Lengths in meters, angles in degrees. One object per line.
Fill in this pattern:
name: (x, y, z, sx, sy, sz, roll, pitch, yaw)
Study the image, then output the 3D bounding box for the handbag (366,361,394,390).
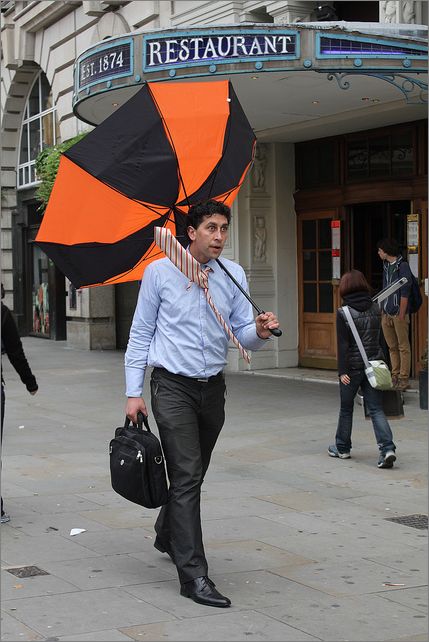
handbag: (1.385, 0.458, 6.387, 0.241, 0.261, 0.160, 0, 1, -4)

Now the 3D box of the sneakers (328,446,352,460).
sneakers: (1.118, 1.182, 6.869, 0.200, 0.086, 0.087, 18, 20, 41)

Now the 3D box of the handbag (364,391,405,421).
handbag: (1.481, 0.738, 6.694, 0.327, 0.272, 0.166, -2, 6, 6)

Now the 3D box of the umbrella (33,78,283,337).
umbrella: (-0.491, -1.044, 5.107, 0.578, 1.598, 1.741, 17, 0, 29)

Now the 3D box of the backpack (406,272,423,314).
backpack: (2.598, -0.364, 9.907, 0.173, 0.511, 0.401, 0, 1, 15)

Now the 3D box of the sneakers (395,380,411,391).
sneakers: (2.502, 0.853, 10.147, 0.151, 0.151, 0.373, -22, -12, 10)

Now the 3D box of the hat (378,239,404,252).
hat: (2.240, -0.975, 9.817, 0.251, 0.231, 0.281, 0, 0, 9)

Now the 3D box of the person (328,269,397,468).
person: (1.265, 0.402, 6.535, 0.600, 1.670, 0.486, 0, 1, 18)

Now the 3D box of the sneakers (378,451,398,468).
sneakers: (1.437, 1.163, 6.348, 0.086, 0.094, 0.220, 1, -4, -2)

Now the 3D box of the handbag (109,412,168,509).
handbag: (-0.352, 0.626, 3.438, 0.196, 0.395, 0.344, 0, 1, -25)

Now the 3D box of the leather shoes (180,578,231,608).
leather shoes: (-0.045, 1.168, 3.317, 0.257, 0.109, 0.090, 2, -1, 45)
